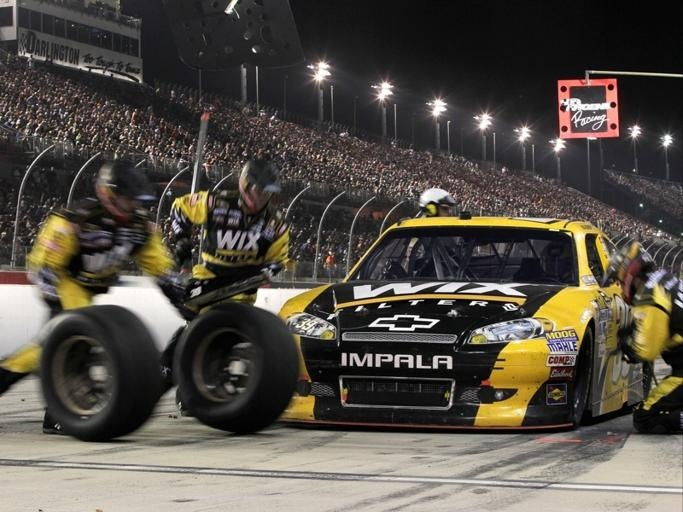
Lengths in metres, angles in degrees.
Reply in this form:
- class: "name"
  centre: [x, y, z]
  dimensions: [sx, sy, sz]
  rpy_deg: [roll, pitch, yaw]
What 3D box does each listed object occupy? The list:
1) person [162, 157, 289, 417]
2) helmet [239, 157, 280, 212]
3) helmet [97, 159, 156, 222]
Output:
- class: "person"
  centre: [-0.848, 0.194, 5.556]
  dimensions: [0.877, 1.855, 0.659]
  rpy_deg: [13, 14, 2]
- class: "helmet"
  centre: [-0.575, -0.499, 5.347]
  dimensions: [0.281, 0.387, 0.273]
  rpy_deg: [0, 1, -9]
- class: "helmet"
  centre: [-1.412, -0.422, 5.001]
  dimensions: [0.353, 0.362, 0.169]
  rpy_deg: [0, 1, -16]
